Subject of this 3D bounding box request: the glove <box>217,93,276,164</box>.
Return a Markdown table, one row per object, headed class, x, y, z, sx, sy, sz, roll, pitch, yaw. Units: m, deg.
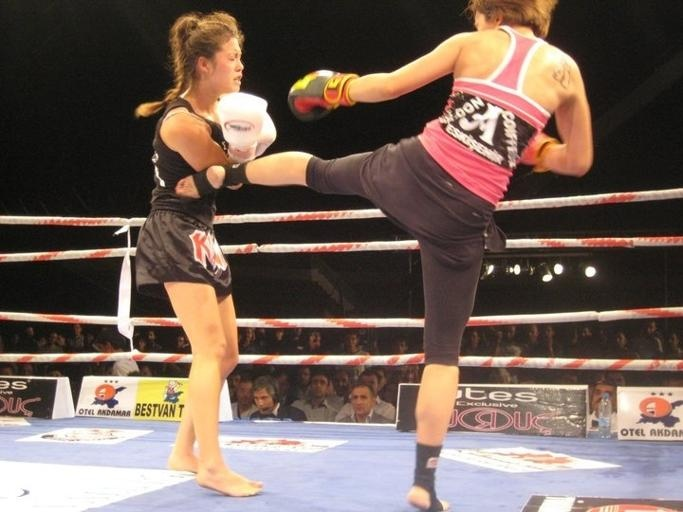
| class | x | y | z | sx | sy | sz | roll | pitch | yaw |
| --- | --- | --- | --- | --- | --- | --- | --- | --- | --- |
| glove | -0.425 | -0.603 | 3.324 | 0.190 | 0.343 | 0.273 | -14 | 50 | -42 |
